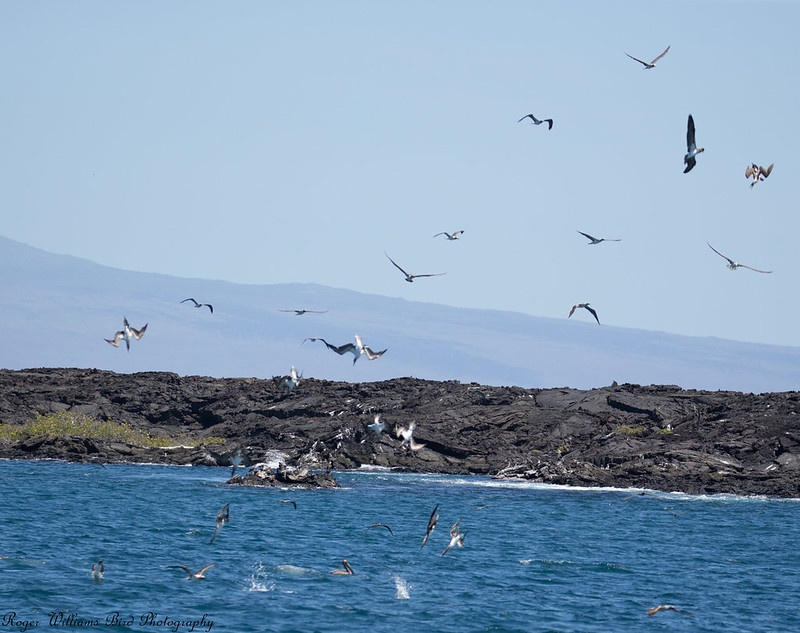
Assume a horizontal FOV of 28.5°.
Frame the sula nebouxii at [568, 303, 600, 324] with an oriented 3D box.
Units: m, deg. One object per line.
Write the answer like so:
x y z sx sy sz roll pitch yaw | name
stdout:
4.375 -0.139 37.423 0.913 0.441 0.296 12 29 36 | sula nebouxii
